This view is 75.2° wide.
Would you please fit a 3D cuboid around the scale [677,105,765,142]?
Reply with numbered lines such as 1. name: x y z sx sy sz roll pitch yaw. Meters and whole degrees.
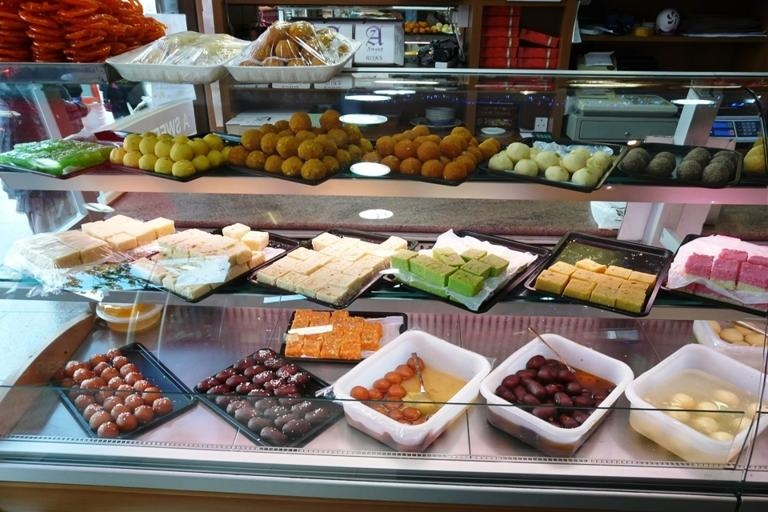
1. scale: 1.204 -0.467 1.775 0.271 0.128 0.103 7 30 17

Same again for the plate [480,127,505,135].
1. plate: 0.426 -0.479 1.926 0.090 0.029 0.040 7 28 18
